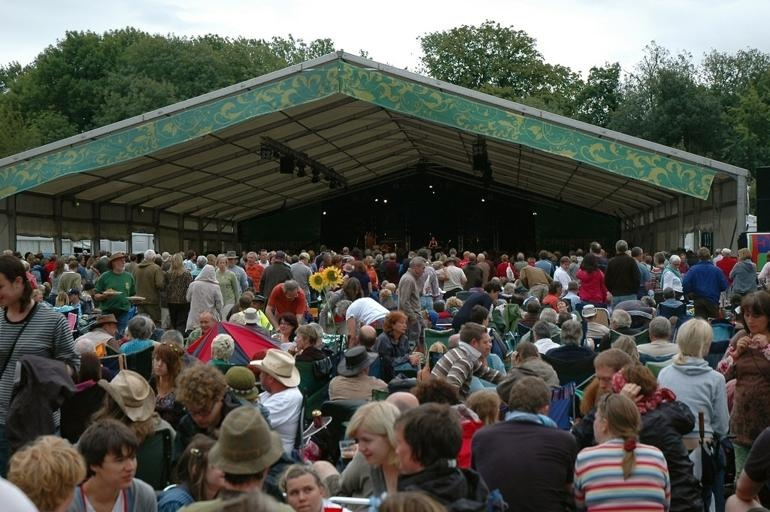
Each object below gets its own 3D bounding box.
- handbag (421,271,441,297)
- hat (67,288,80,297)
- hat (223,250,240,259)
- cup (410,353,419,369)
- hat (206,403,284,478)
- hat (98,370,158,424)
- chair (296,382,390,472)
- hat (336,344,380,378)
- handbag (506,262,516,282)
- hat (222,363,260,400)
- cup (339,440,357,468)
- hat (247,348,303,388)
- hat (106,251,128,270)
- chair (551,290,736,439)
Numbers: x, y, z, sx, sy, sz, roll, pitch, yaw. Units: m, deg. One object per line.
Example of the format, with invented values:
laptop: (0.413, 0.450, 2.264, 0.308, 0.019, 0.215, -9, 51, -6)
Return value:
handbag: (0.849, 0.541, 17.487, 0.391, 0.406, 0.223, 8, 16, 37)
hat: (-5.529, 0.651, 16.896, 0.208, 0.117, 0.164, -3, -3, 4)
hat: (-4.062, -0.028, 25.222, 0.384, 0.135, 0.413, 2, -14, -1)
cup: (0.424, 1.439, 12.986, 0.115, 0.154, 0.140, 11, 10, -1)
hat: (-1.316, 1.767, 8.969, 0.533, 0.287, 0.658, 4, 29, 3)
hat: (-2.737, 1.479, 10.065, 0.576, 0.247, 0.446, 47, 19, 20)
chair: (-0.558, 2.043, 11.625, 0.783, 1.231, 0.894, 1, 39, 15)
hat: (-0.293, 1.342, 11.952, 0.377, 0.139, 0.420, -4, 21, 25)
handbag: (2.907, 0.400, 21.749, 0.154, 0.440, 0.321, -9, -1, 9)
hat: (-1.580, 1.425, 10.537, 0.357, 0.383, 0.226, 2, -2, -11)
cup: (-0.395, 2.147, 10.282, 0.261, 0.307, 0.285, 0, -10, 0)
hat: (-1.263, 1.343, 11.039, 0.471, 0.191, 0.428, 33, 16, 17)
hat: (-4.559, 0.066, 16.246, 0.335, 0.190, 0.308, -33, -12, 36)
chair: (3.196, 1.328, 11.030, 1.020, 1.702, 1.062, 1, 4, 35)
